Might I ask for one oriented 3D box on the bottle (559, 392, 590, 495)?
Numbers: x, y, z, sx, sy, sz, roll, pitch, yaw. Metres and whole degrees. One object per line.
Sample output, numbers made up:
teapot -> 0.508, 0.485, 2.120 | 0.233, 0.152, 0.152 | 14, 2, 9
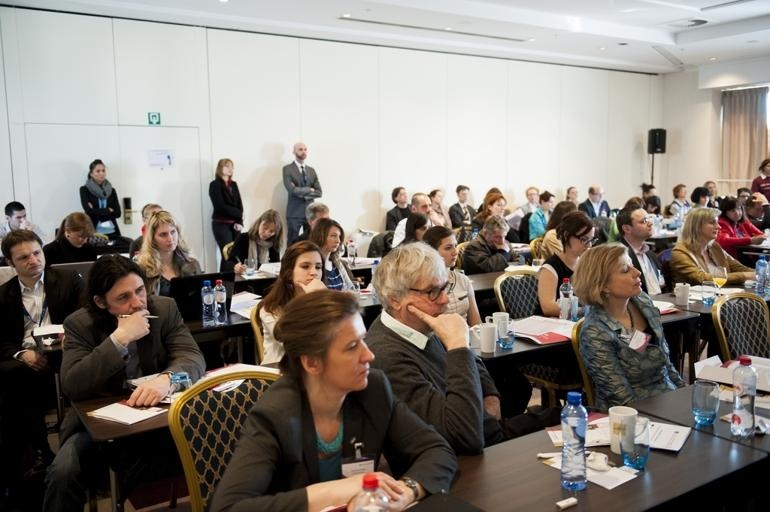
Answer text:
bottle -> 0.778, 0.748, 2.184 | 0.103, 0.356, 0.252 | 1, 9, 21

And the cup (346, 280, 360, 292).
cup -> -0.314, 0.291, 5.106 | 0.097, 0.101, 0.101 | 0, -5, 0

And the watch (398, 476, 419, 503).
watch -> 0.093, 0.912, 2.071 | 0.019, 0.068, 0.071 | -33, -2, -10

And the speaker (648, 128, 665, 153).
speaker -> 7.078, -2.996, 13.804 | 0.432, 0.625, 0.820 | 2, 10, 27

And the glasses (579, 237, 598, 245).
glasses -> 1.746, -0.132, 4.561 | 0.174, 0.060, 0.173 | 9, 10, 41

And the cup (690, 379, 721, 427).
cup -> 1.567, 0.725, 2.588 | 0.122, 0.195, 0.125 | -3, 1, 0

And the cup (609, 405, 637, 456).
cup -> 1.063, 0.768, 2.306 | 0.165, 0.170, 0.106 | -2, -2, 37

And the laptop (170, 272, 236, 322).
laptop -> -1.529, 0.302, 4.330 | 0.447, 0.340, 0.378 | -2, 8, -34

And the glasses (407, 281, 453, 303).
glasses -> 0.193, 0.169, 2.635 | 0.170, 0.058, 0.175 | -5, 2, -43
